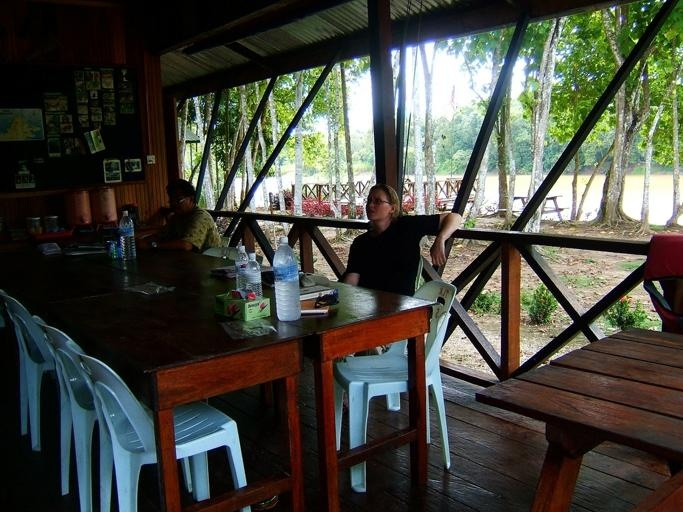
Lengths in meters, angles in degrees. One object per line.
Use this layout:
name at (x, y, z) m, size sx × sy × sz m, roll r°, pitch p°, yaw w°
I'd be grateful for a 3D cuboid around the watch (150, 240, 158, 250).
watch at (-1.647, -0.107, 4.388) m, size 0.067 × 0.017 × 0.070 m, roll -1°, pitch 40°, yaw 13°

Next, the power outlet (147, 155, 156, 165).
power outlet at (-2.329, -1.177, 6.085) m, size 0.016 × 0.107 × 0.119 m, roll 5°, pitch 8°, yaw 29°

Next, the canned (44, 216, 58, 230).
canned at (-3.096, -0.355, 5.336) m, size 0.124 × 0.145 × 0.128 m, roll 2°, pitch -1°, yaw -15°

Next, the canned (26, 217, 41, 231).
canned at (-3.220, -0.327, 5.263) m, size 0.140 × 0.162 × 0.142 m, roll 2°, pitch 0°, yaw -21°

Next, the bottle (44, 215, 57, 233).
bottle at (-3.102, -0.342, 5.337) m, size 0.146 × 0.171 × 0.149 m, roll 2°, pitch -2°, yaw -17°

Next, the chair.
chair at (0.295, 0.651, 3.141) m, size 0.910 × 1.410 × 0.865 m, roll 0°, pitch 2°, yaw -19°

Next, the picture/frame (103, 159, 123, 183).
picture/frame at (-2.612, -0.977, 5.682) m, size 0.052 × 0.244 × 0.232 m, roll 8°, pitch 11°, yaw 43°
